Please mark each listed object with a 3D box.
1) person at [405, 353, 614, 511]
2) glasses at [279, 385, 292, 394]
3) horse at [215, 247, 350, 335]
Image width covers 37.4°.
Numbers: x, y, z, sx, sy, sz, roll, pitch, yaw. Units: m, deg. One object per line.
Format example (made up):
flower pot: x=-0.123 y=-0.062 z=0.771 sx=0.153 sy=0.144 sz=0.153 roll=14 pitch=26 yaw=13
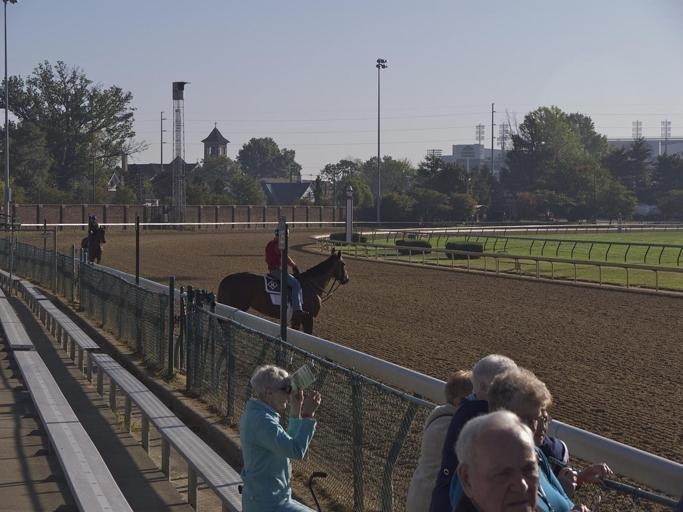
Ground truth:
person: x=1.225 y=1.456 z=8.270 sx=1.329 sy=1.292 sz=0.581 roll=-3 pitch=6 yaw=-20
glasses: x=-0.500 y=1.178 z=8.913 sx=0.106 sy=0.087 sz=0.030 roll=-2 pitch=6 yaw=-7
horse: x=-0.986 y=0.837 z=16.778 sx=2.425 sy=1.982 sz=0.587 roll=1 pitch=12 yaw=-23
